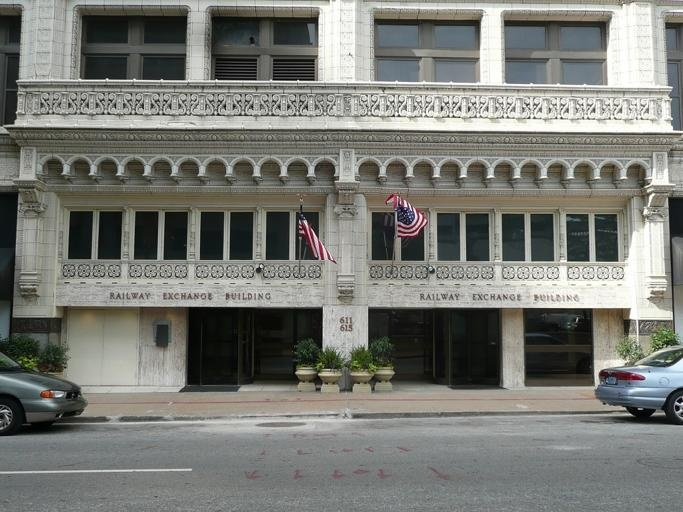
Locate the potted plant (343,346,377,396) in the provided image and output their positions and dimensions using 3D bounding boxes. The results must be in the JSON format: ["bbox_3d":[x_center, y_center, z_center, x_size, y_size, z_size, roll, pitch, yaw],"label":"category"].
[{"bbox_3d":[0.684,3.868,33.271,0.908,1.462,1.067,-1,6,-1],"label":"potted plant"}]

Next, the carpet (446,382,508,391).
[{"bbox_3d":[4.771,4.629,34.459,1.880,0.087,1.122,-1,5,-1],"label":"carpet"}]

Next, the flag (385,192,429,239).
[{"bbox_3d":[2.256,-1.397,33.436,2.102,1.937,0.302,0,-14,-1],"label":"flag"}]

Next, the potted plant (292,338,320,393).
[{"bbox_3d":[-1.171,3.758,33.597,0.833,1.687,0.899,-1,6,-3],"label":"potted plant"}]

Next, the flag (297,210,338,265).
[{"bbox_3d":[-0.859,-0.624,33.652,1.279,1.833,2.200,-1,6,-3],"label":"flag"}]

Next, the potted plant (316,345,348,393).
[{"bbox_3d":[-0.377,3.888,33.291,0.860,1.468,0.963,0,6,12],"label":"potted plant"}]

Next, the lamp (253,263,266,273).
[{"bbox_3d":[-2.855,0.430,34.099,0.338,0.371,0.117,-2,7,-10],"label":"lamp"}]

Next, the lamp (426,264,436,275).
[{"bbox_3d":[3.163,0.468,34.204,0.282,0.350,0.141,0,6,3],"label":"lamp"}]
